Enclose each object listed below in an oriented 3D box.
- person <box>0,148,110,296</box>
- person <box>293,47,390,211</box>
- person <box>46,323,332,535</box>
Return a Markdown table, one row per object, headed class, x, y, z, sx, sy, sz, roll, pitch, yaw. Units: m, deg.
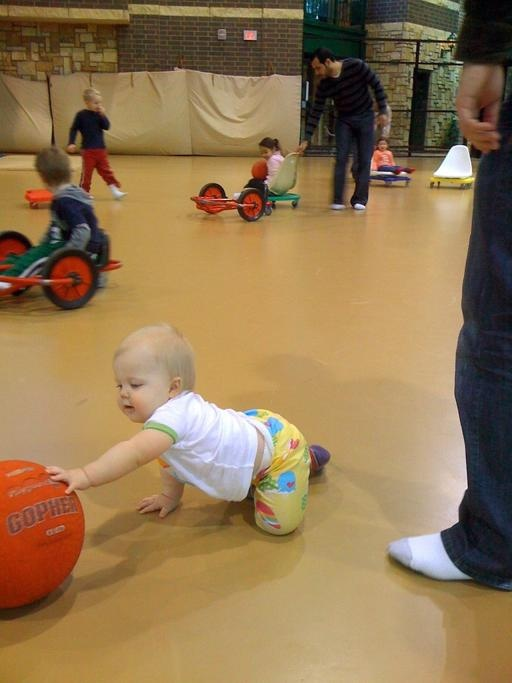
| class | x | y | z | sx | sy | sz | roll | pitch | yaw |
| --- | --- | --- | --- | --- | --- | --- | --- | --- | --- |
| person | -1.056 | -0.580 | 2.818 | 0.547 | 0.755 | 0.601 | -2 | 25 | -12 |
| person | 0.852 | -2.151 | 5.710 | 0.802 | 1.514 | 1.138 | 20 | 29 | 31 |
| person | -0.084 | 0.209 | 1.216 | 0.737 | 0.439 | 0.303 | -6 | 15 | -36 |
